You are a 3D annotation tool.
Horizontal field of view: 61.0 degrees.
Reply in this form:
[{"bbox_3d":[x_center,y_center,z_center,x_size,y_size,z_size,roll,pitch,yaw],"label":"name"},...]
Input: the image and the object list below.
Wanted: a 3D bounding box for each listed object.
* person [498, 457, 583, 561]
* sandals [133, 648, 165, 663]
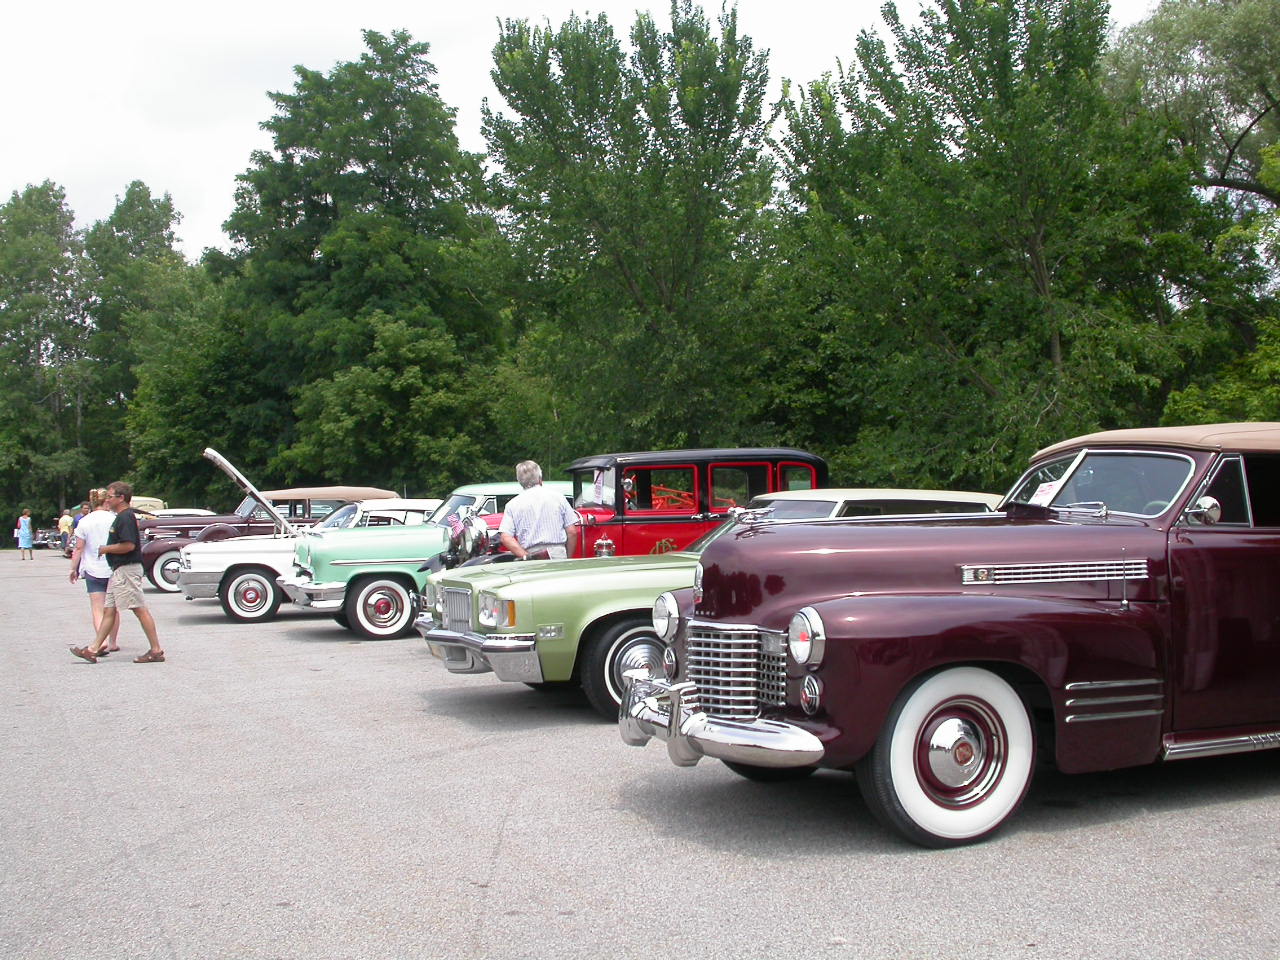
[{"bbox_3d":[-1.046,0.696,12.008,0.811,2.035,0.577,-4,31,-2],"label":"person"},{"bbox_3d":[-5.733,2.062,12.683,0.297,0.119,0.164,5,-9,-23],"label":"sandals"}]
